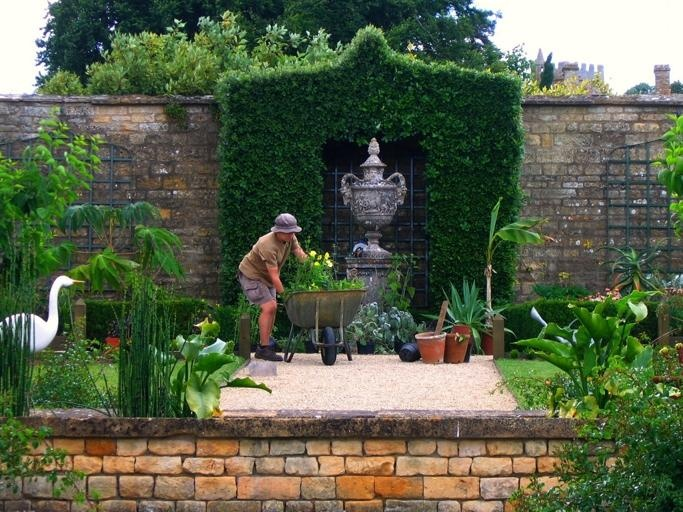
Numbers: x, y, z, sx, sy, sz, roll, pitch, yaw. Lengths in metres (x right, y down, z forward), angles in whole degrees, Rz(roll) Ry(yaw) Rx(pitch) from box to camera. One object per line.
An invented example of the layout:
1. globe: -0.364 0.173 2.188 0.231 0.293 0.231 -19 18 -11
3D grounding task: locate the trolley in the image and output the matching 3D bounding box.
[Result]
1. trolley: -0.255 0.886 14.835 0.641 0.650 1.106 1 -12 -8

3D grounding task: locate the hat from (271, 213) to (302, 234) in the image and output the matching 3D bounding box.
1. hat: -0.641 -0.362 14.414 0.268 0.146 0.261 4 7 28

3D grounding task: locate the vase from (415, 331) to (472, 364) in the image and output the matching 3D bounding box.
1. vase: 1.215 1.111 14.770 0.504 0.281 0.384 1 -6 -17

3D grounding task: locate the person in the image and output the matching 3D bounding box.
1. person: -0.742 0.319 14.864 0.936 1.749 0.835 -4 15 -28

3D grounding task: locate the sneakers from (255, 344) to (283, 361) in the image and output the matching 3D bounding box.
1. sneakers: -0.850 1.155 14.720 0.314 0.162 0.159 4 5 -6
